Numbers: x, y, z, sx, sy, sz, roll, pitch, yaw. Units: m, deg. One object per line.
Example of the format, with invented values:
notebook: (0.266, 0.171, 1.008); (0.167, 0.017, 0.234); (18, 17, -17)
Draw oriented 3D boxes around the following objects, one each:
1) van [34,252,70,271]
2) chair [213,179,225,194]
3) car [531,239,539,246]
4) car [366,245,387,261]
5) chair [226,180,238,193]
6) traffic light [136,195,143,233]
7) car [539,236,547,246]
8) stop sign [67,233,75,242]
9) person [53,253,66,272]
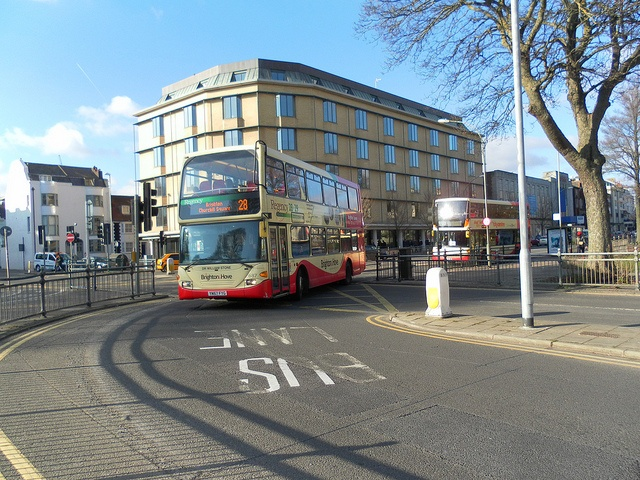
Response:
van: (-23.878, 1.885, 49.645); (2.092, 1.206, 1.572); (-3, -3, 21)
chair: (-2.998, -1.597, 16.590); (0.320, 0.477, 0.358); (-1, -3, -8)
car: (28.246, 0.263, 73.883); (0.811, 0.806, 1.490); (-4, -6, 38)
car: (3.624, 0.892, 38.641); (2.099, 1.063, 1.104); (-5, 2, -3)
chair: (-2.620, -1.604, 16.425); (0.289, 0.483, 0.377); (-1, -6, -7)
traffic light: (-6.563, -0.991, 20.366); (0.261, 1.170, 1.210); (-3, 6, -18)
car: (27.794, 0.060, 69.965); (1.071, 1.152, 2.099); (1, 8, 26)
stop sign: (-21.259, -0.263, 47.596); (0.803, 0.240, 0.898); (-6, 19, -33)
person: (-22.227, 1.918, 47.474); (0.676, 1.095, 2.988); (8, 1, -15)
